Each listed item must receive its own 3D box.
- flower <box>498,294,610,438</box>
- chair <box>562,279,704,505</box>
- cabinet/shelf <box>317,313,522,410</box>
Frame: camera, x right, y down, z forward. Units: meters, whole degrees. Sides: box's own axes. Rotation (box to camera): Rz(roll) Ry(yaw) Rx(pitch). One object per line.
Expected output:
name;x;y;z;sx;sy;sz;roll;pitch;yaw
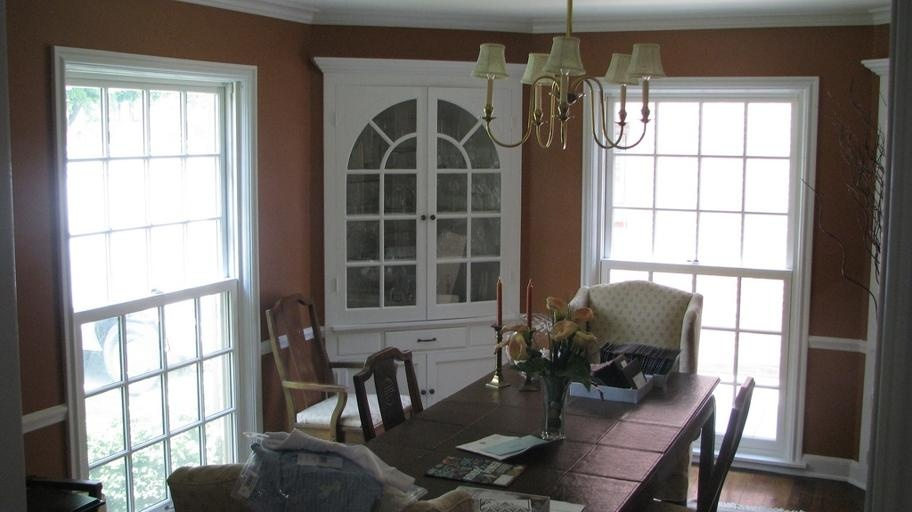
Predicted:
flower;0.746;0.601;4.061;0.669;0.802;0.800;-2;5;-28
chair;1.346;0.935;5.296;1.060;1.342;0.857;0;3;22
cabinet/shelf;-0.347;1.074;6.170;1.728;0.968;0.407;0;2;-27
